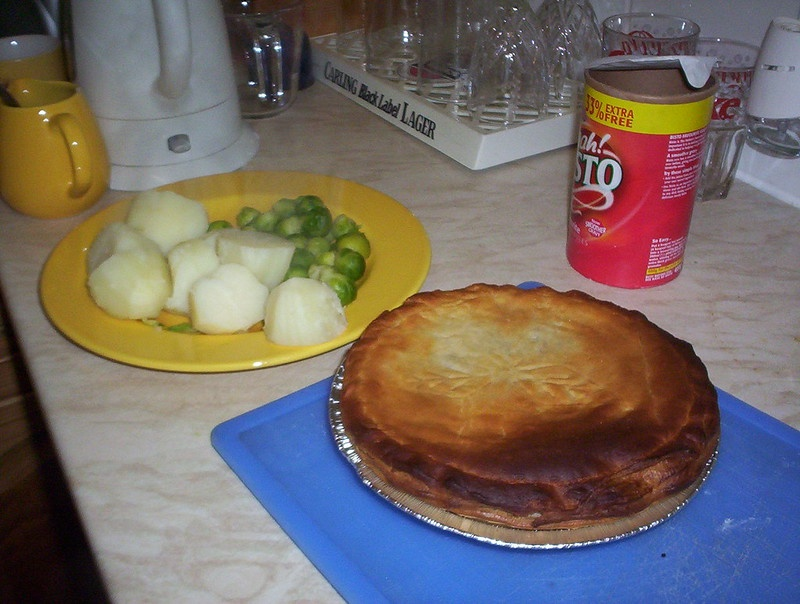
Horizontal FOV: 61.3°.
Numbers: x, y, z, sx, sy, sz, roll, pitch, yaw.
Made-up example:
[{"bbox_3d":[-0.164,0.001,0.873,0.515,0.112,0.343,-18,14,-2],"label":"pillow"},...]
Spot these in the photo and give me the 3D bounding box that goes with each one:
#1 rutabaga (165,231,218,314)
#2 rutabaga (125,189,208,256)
[{"bbox_3d":[-0.227,-0.038,0.788,0.073,0.082,0.056,1,30,2],"label":"rutabaga"},{"bbox_3d":[-0.298,-0.103,0.880,0.102,0.082,0.110,13,24,28],"label":"rutabaga"}]
